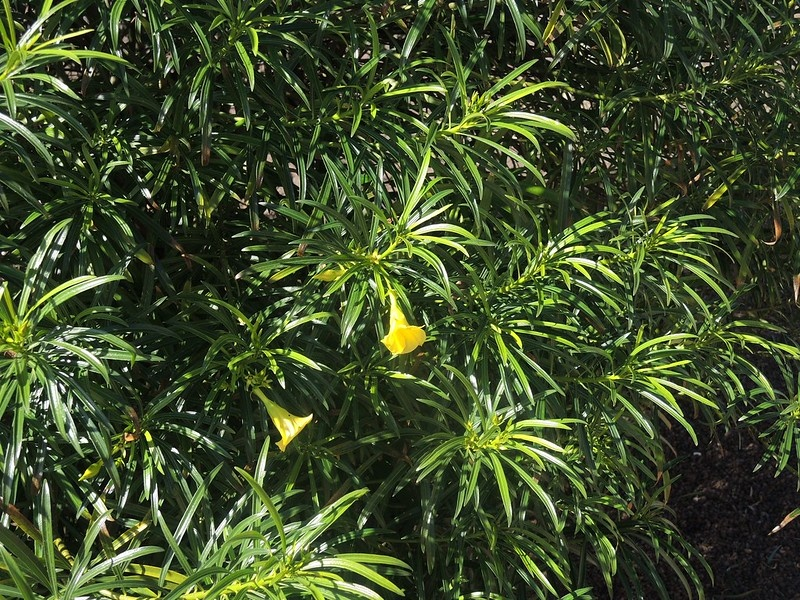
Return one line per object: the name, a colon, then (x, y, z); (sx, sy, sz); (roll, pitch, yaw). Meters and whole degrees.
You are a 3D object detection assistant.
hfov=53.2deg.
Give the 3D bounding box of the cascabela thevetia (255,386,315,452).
cascabela thevetia: (-0.258, 0.279, 1.857); (0.090, 0.136, 0.065); (27, 74, -7)
